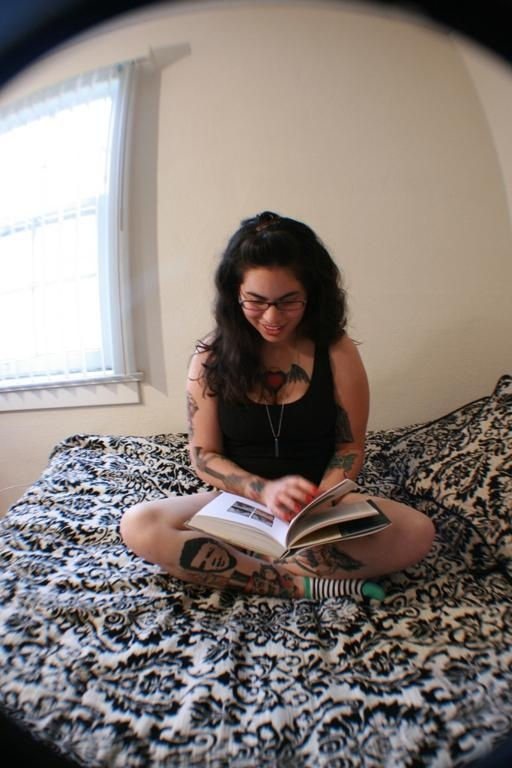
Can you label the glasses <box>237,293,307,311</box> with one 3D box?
[{"bbox_3d":[0.029,-0.138,1.012,0.112,0.028,0.059,-3,2,-1],"label":"glasses"}]
